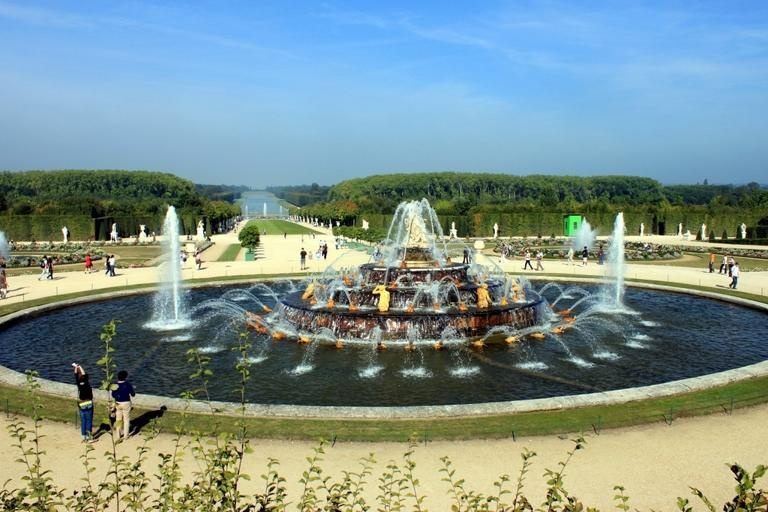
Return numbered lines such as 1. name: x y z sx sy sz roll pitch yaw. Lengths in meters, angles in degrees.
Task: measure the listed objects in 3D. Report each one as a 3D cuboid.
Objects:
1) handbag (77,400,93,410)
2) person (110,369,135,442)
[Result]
1. handbag: -6.321 3.133 10.800 0.222 0.178 0.110 -5 10 -37
2. person: -5.639 3.215 10.985 0.458 1.439 1.989 -4 8 -28
